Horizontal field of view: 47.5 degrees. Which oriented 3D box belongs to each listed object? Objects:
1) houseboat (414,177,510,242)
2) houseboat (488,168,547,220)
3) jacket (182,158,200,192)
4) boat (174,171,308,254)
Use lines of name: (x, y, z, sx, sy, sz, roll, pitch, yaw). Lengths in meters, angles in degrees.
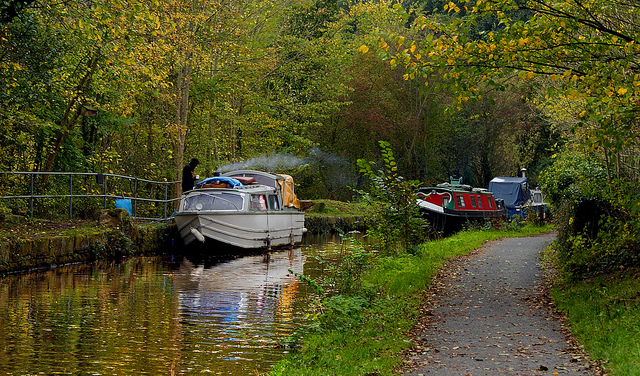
houseboat: (7.222, 1.156, 39.125, 2.407, 3.028, 9.144, -7, -10, 36)
houseboat: (12.568, 0.379, 47.178, 1.960, 2.962, 5.977, 3, 7, 26)
jacket: (-5.950, -0.551, 33.383, 0.765, 0.705, 1.931, -5, -19, -25)
boat: (-3.355, 1.274, 34.147, 2.905, 3.434, 8.314, -1, -3, 26)
